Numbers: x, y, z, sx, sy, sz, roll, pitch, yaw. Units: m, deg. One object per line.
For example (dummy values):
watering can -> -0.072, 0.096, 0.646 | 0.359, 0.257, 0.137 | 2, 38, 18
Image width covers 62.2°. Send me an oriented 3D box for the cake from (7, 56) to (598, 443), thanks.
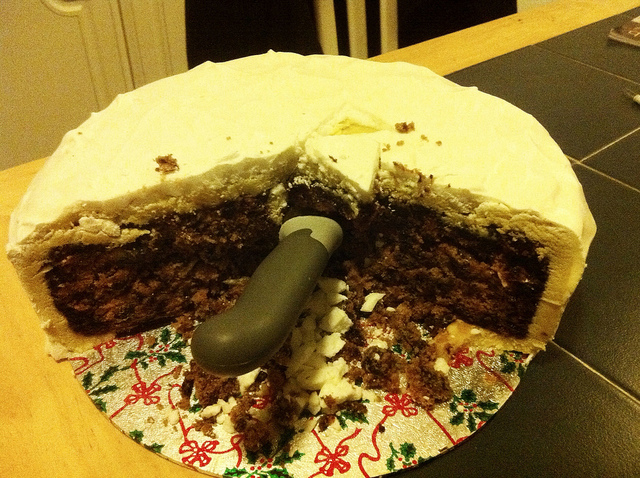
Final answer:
cake -> 0.003, -0.048, 0.735 | 0.790, 0.265, 0.584 | 4, 49, 1
